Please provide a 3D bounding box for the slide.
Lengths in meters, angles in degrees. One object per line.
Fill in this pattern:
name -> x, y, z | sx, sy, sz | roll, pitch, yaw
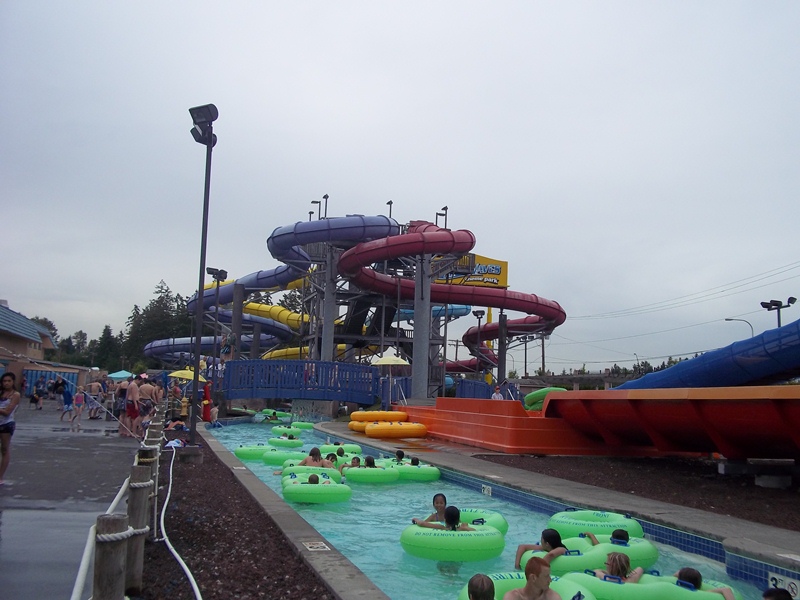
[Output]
slide -> 1.889, -1.684, 30.973 | 16.138, 5.162, 10.587 | 1, -4, -14
